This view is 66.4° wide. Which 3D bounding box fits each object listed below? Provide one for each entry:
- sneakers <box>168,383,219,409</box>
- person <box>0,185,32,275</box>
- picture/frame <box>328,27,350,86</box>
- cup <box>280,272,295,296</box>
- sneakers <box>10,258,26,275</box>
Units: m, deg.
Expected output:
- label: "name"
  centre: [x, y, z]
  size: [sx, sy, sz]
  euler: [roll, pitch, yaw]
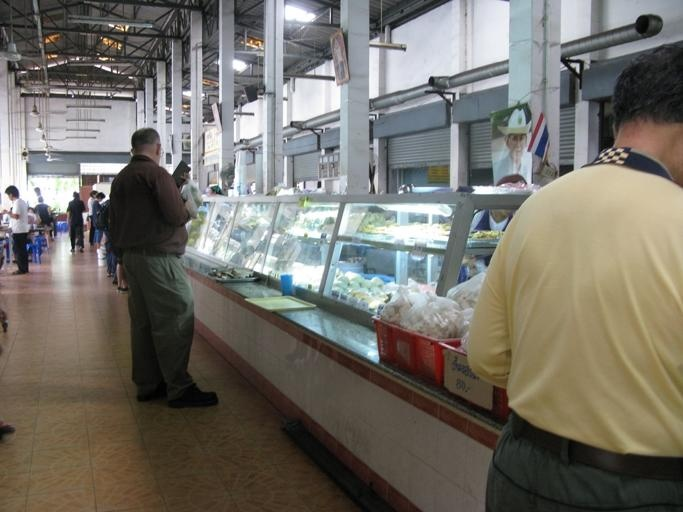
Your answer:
- label: "sneakers"
  centre: [-1.101, 1.021, 3.892]
  size: [0.327, 0.163, 0.157]
  euler: [-3, 1, -15]
- label: "person"
  centre: [-6.610, -0.520, 10.656]
  size: [0.357, 1.801, 0.837]
  euler: [-4, 8, -32]
- label: "picture/frame"
  centre: [-0.023, -2.659, 6.957]
  size: [0.154, 0.746, 0.502]
  euler: [-1, 7, -15]
- label: "cup"
  centre: [-0.409, 0.242, 4.203]
  size: [0.149, 0.216, 0.142]
  euler: [0, -3, 0]
- label: "sneakers"
  centre: [-6.692, 0.214, 10.900]
  size: [0.281, 0.330, 0.263]
  euler: [15, 1, -4]
